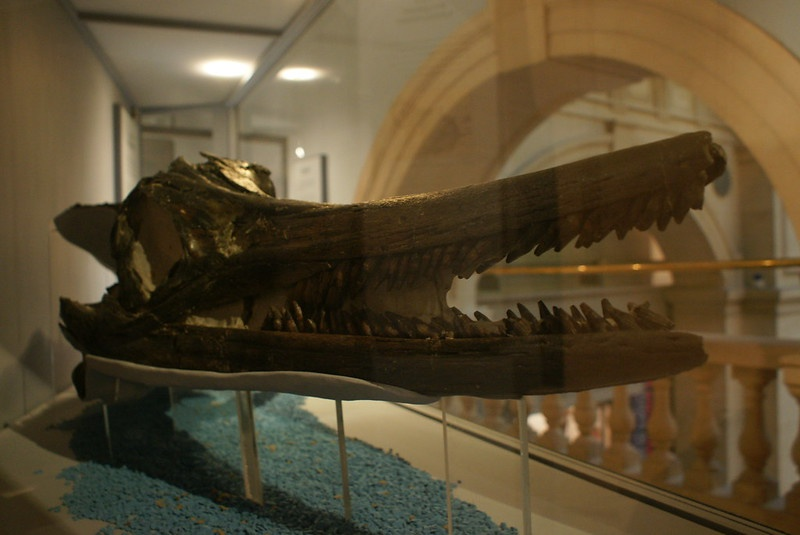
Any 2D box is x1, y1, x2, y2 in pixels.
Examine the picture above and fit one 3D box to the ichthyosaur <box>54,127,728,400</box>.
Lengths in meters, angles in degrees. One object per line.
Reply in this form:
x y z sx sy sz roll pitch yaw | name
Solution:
-0.133 -0.008 3.017 2.098 0.695 0.615 -3 3 23 | ichthyosaur
